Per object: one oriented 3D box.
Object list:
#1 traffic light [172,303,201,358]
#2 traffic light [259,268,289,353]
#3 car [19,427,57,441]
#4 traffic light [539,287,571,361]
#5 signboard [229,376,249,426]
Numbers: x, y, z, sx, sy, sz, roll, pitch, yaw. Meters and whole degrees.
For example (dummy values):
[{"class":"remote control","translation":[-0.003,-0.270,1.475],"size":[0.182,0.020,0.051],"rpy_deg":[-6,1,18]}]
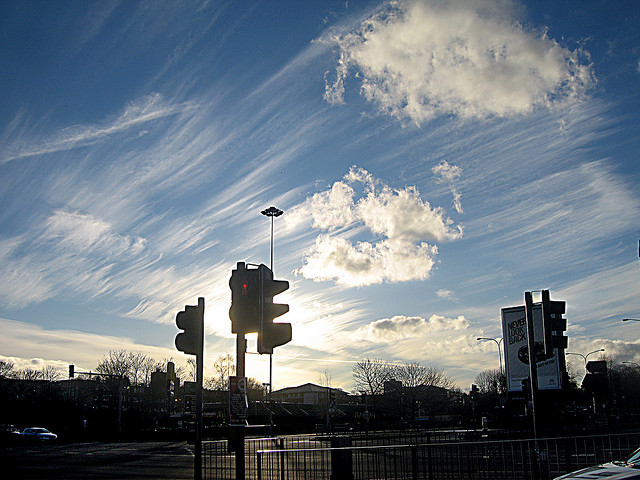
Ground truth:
[{"class":"traffic light","translation":[-3.995,2.822,21.134],"size":[0.786,1.540,0.643],"rpy_deg":[3,-18,-9]},{"class":"traffic light","translation":[-1.355,2.101,21.041],"size":[0.880,2.521,0.849],"rpy_deg":[2,-18,-5]},{"class":"car","translation":[-27.683,19.386,68.835],"size":[2.225,1.501,5.242],"rpy_deg":[17,-25,-40]},{"class":"traffic light","translation":[8.168,2.976,24.112],"size":[0.855,2.272,0.532],"rpy_deg":[-3,-9,15]},{"class":"signboard","translation":[-2.431,4.830,20.702],"size":[0.578,1.461,1.425],"rpy_deg":[3,-19,-7]}]
